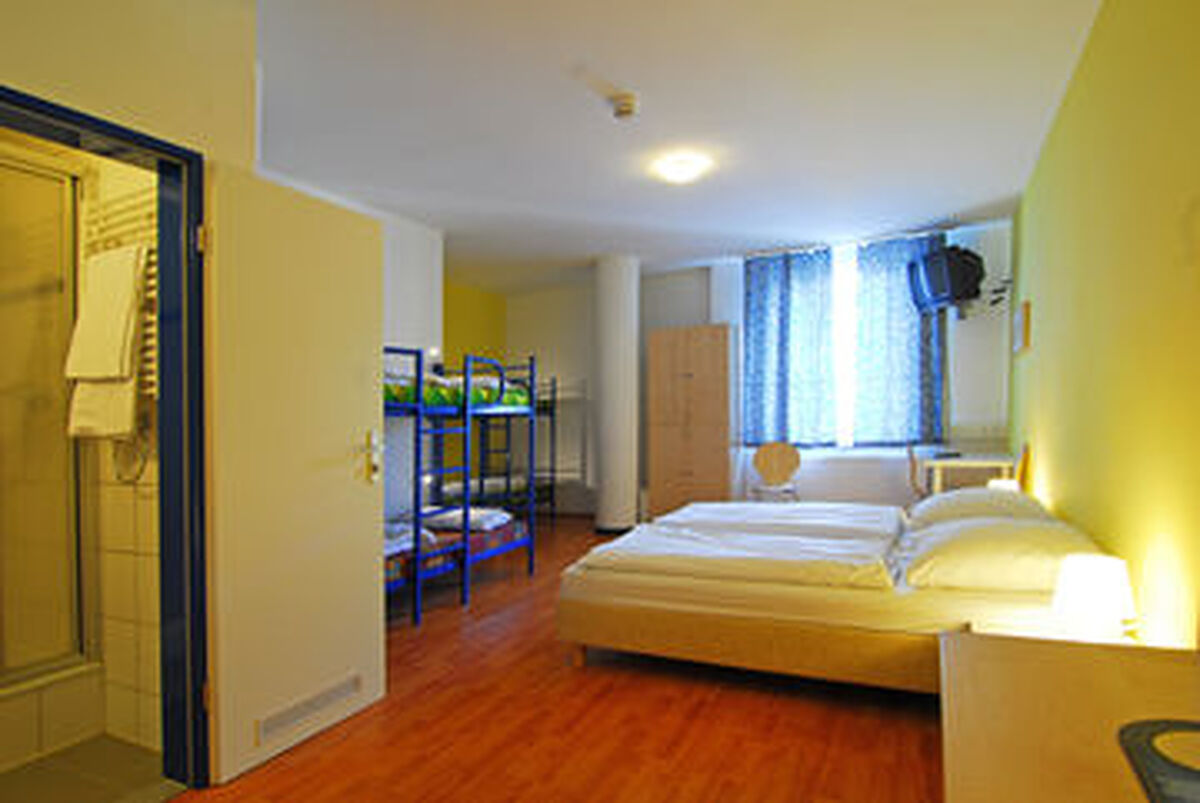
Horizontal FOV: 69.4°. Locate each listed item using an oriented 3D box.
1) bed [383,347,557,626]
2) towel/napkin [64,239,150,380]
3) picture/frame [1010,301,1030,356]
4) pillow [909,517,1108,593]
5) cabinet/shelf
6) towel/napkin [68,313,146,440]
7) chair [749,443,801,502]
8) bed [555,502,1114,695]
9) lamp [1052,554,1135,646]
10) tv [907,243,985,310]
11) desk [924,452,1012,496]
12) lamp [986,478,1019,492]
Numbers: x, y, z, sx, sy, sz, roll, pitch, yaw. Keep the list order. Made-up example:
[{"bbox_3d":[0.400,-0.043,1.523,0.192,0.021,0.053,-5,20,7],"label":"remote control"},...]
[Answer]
[{"bbox_3d":[-1.063,0.693,6.939,0.825,1.687,2.129,-1,-2,10],"label":"bed"},{"bbox_3d":[-2.274,-0.408,4.192,0.477,0.633,0.198,-3,-6,25],"label":"towel/napkin"},{"bbox_3d":[3.084,-0.541,6.356,0.050,0.280,0.491,5,-2,19],"label":"picture/frame"},{"bbox_3d":[1.960,0.772,4.349,0.505,0.142,0.528,-10,-2,-42],"label":"pillow"},{"bbox_3d":[0.859,0.189,8.447,0.858,1.879,0.626,1,11,11],"label":"cabinet/shelf"},{"bbox_3d":[-2.353,-0.117,4.102,0.434,0.585,0.150,2,11,17],"label":"towel/napkin"},{"bbox_3d":[1.648,0.650,8.345,0.489,0.786,0.538,-1,-6,13],"label":"chair"},{"bbox_3d":[1.270,0.991,4.695,1.558,0.557,1.495,-1,-1,24],"label":"bed"},{"bbox_3d":[2.154,0.830,3.812,0.392,0.374,0.334,-7,6,-39],"label":"lamp"},{"bbox_3d":[2.859,-1.027,7.328,0.536,0.477,0.559,-11,0,-17],"label":"tv"},{"bbox_3d":[3.022,0.496,7.088,0.591,0.539,0.597,-2,-5,27],"label":"desk"},{"bbox_3d":[2.757,0.562,5.944,0.179,0.131,0.181,-4,-3,39],"label":"lamp"}]
